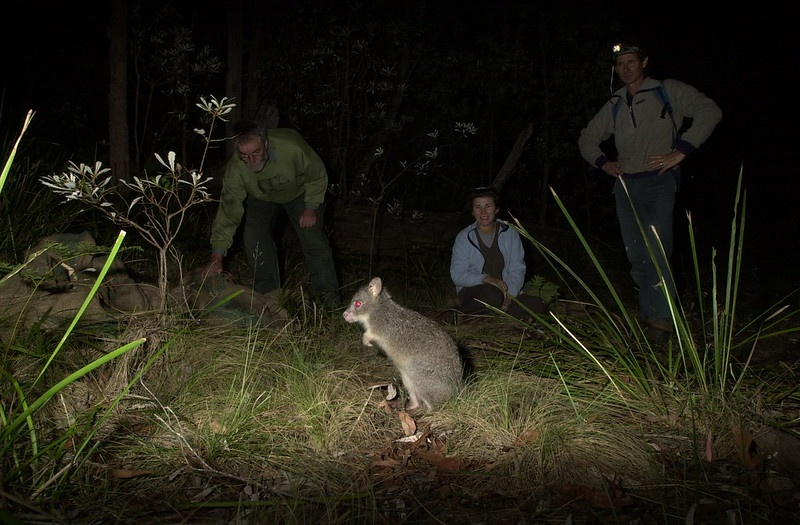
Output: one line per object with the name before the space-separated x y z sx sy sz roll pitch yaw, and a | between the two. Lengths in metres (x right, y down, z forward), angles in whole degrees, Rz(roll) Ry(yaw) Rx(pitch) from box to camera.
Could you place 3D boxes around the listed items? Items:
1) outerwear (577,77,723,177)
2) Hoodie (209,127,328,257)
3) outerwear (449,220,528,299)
outerwear | 3.171 -1.788 7.589 0.747 1.236 1.713 -10 8 -44
Hoodie | -1.726 -0.889 8.205 1.331 1.899 1.172 4 -17 3
outerwear | 1.239 -0.069 8.223 1.309 1.383 0.933 -1 10 -3
